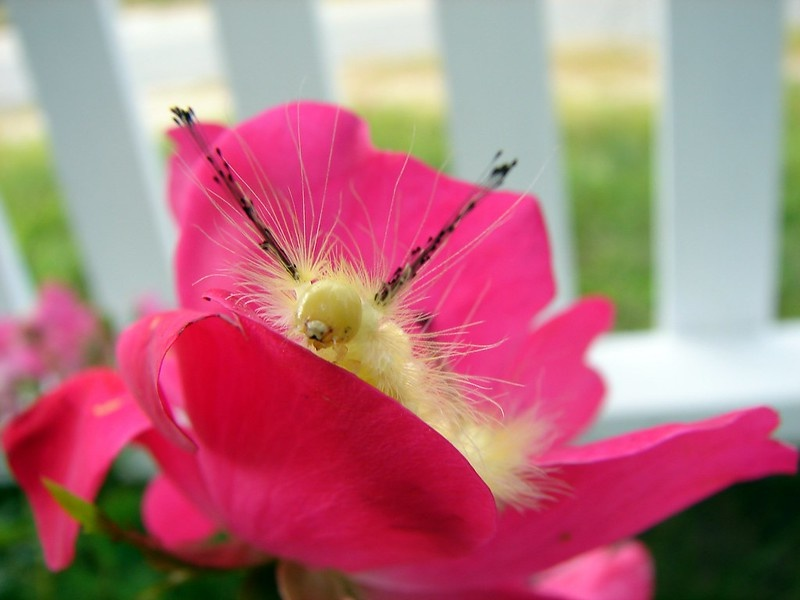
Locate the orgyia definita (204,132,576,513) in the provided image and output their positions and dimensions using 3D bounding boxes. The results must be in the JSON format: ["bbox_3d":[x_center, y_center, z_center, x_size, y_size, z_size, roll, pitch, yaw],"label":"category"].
[{"bbox_3d":[0.033,0.061,0.546,0.130,0.332,0.139,-47,39,-13],"label":"orgyia definita"}]
